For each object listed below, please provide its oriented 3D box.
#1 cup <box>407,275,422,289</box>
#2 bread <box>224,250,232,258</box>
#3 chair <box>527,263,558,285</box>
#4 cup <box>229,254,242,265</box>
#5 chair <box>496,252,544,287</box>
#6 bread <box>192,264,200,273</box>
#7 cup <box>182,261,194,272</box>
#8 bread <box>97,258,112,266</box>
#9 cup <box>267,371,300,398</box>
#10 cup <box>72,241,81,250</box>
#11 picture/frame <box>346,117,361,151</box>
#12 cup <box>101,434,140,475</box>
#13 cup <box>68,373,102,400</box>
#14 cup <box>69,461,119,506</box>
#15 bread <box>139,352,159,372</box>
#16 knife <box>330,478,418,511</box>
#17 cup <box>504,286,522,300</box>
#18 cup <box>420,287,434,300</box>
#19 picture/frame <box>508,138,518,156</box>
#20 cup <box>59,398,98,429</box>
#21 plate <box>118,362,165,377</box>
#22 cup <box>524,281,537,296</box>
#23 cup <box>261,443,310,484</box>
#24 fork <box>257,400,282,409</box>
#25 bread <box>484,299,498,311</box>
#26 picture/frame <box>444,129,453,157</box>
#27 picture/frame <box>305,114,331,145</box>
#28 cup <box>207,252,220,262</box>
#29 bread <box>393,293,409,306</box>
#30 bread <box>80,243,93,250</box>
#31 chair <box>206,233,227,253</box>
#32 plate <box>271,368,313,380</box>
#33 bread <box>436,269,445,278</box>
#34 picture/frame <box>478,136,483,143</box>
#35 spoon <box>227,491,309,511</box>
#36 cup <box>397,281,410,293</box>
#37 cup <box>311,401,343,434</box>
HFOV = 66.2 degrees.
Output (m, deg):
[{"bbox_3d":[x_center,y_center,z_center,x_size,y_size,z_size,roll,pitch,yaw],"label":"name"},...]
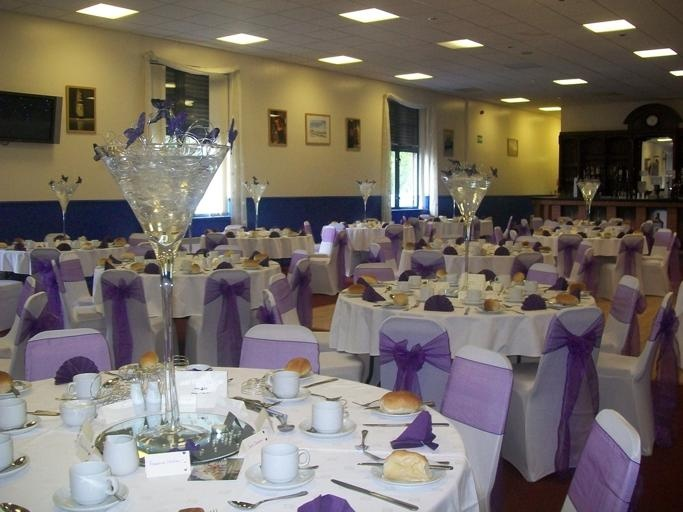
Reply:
[{"bbox_3d":[0.532,0.190,3.865,0.087,0.071,0.089,0,-2,0],"label":"cup"},{"bbox_3d":[-1.216,-0.031,5.596,0.077,0.059,0.076,-2,3,-38],"label":"bread"},{"bbox_3d":[1.708,0.157,4.469,0.157,0.248,0.171,1,3,34],"label":"chair"},{"bbox_3d":[-1.060,0.031,5.231,0.089,0.094,0.095,0,9,0],"label":"cup"},{"bbox_3d":[1.694,0.122,4.974,0.212,0.337,0.233,-1,19,-8],"label":"chair"},{"bbox_3d":[-1.299,0.105,4.669,0.063,0.081,0.023,-1,12,-24],"label":"bread"},{"bbox_3d":[-1.404,0.096,4.804,0.109,0.114,0.114,0,-2,0],"label":"cup"},{"bbox_3d":[-2.295,0.051,5.074,0.075,0.051,0.134,-4,4,-39],"label":"bread"},{"bbox_3d":[-0.199,0.456,1.883,0.073,0.077,0.099,0,0,-15],"label":"cup"},{"bbox_3d":[-3.293,-0.145,6.512,0.106,0.073,0.192,1,5,-17],"label":"cup"},{"bbox_3d":[0.258,-3.015,12.828,0.091,0.939,0.756,1,4,32],"label":"picture/frame"},{"bbox_3d":[-0.593,0.514,1.409,0.086,0.096,0.092,6,2,0],"label":"cup"},{"bbox_3d":[-0.890,0.453,1.856,0.075,0.082,0.120,9,11,35],"label":"cup"},{"bbox_3d":[-0.591,0.536,1.259,0.111,0.078,0.077,7,9,38],"label":"cup"},{"bbox_3d":[-0.714,0.396,1.947,0.075,0.061,0.081,5,4,-15],"label":"bread"},{"bbox_3d":[0.084,0.596,1.301,0.234,0.014,0.035,9,22,35],"label":"knife"},{"bbox_3d":[1.141,0.244,3.501,0.115,0.090,0.077,-3,5,17],"label":"cup"},{"bbox_3d":[0.562,0.240,3.470,0.073,0.080,0.078,-1,4,0],"label":"cup"},{"bbox_3d":[5.852,-3.778,18.039,0.062,0.594,0.595,0,5,38],"label":"picture/frame"},{"bbox_3d":[-0.842,0.484,1.680,0.093,0.066,0.103,2,-1,8],"label":"cup"},{"bbox_3d":[-0.721,0.415,1.876,0.132,0.029,0.132,1,1,-37],"label":"plate"},{"bbox_3d":[1.296,0.215,3.603,0.075,0.078,0.103,-1,1,-5],"label":"cup"},{"bbox_3d":[-0.144,0.538,1.382,0.106,0.076,0.082,1,-1,-15],"label":"cup"},{"bbox_3d":[-0.248,0.521,1.835,0.046,0.020,0.028,7,-4,-14],"label":"fork"},{"bbox_3d":[0.900,0.286,3.151,0.066,0.038,0.071,7,46,31],"label":"bread"},{"bbox_3d":[3.129,-3.397,15.499,0.071,1.053,0.723,2,6,33],"label":"picture/frame"},{"bbox_3d":[-0.589,-2.947,12.089,0.075,0.737,0.737,3,5,44],"label":"picture/frame"},{"bbox_3d":[-1.276,0.007,5.195,0.132,0.134,0.086,1,12,-21],"label":"cup"},{"bbox_3d":[0.373,0.273,3.309,0.065,0.056,0.078,0,-1,5],"label":"bread"},{"bbox_3d":[-3.134,-0.130,6.448,0.092,0.052,0.148,-1,6,-27],"label":"bread"},{"bbox_3d":[-1.799,-0.197,7.427,0.276,0.418,0.308,-1,1,-21],"label":"chair"},{"bbox_3d":[-0.156,0.460,2.042,0.091,0.014,0.091,1,4,-35],"label":"plate"},{"bbox_3d":[0.793,0.139,4.213,0.057,0.047,0.060,1,8,29],"label":"bread"},{"bbox_3d":[4.367,-3.730,16.608,0.027,0.239,0.224,2,9,33],"label":"picture/frame"},{"bbox_3d":[-0.179,0.597,1.272,0.194,0.029,0.047,0,5,-21],"label":"spoon"},{"bbox_3d":[0.426,0.224,3.723,0.059,0.063,0.077,0,-1,6],"label":"cup"},{"bbox_3d":[-0.038,0.490,1.622,0.093,0.073,0.072,2,5,35],"label":"cup"}]
